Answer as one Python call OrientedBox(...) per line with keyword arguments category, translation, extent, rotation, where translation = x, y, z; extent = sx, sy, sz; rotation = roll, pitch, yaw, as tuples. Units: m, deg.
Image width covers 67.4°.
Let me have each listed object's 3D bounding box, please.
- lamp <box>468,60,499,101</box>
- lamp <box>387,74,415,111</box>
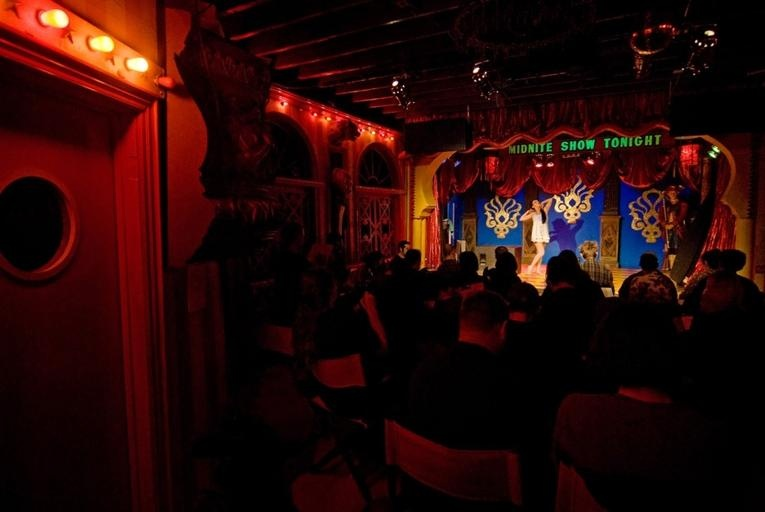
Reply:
OrientedBox(category="lamp", translation=(1.351, -2.299, 7.489), extent=(0.306, 0.386, 0.667), rotation=(4, 0, 20))
OrientedBox(category="lamp", translation=(0.246, -2.283, 7.901), extent=(0.307, 0.428, 0.157), rotation=(-17, 40, -2))
